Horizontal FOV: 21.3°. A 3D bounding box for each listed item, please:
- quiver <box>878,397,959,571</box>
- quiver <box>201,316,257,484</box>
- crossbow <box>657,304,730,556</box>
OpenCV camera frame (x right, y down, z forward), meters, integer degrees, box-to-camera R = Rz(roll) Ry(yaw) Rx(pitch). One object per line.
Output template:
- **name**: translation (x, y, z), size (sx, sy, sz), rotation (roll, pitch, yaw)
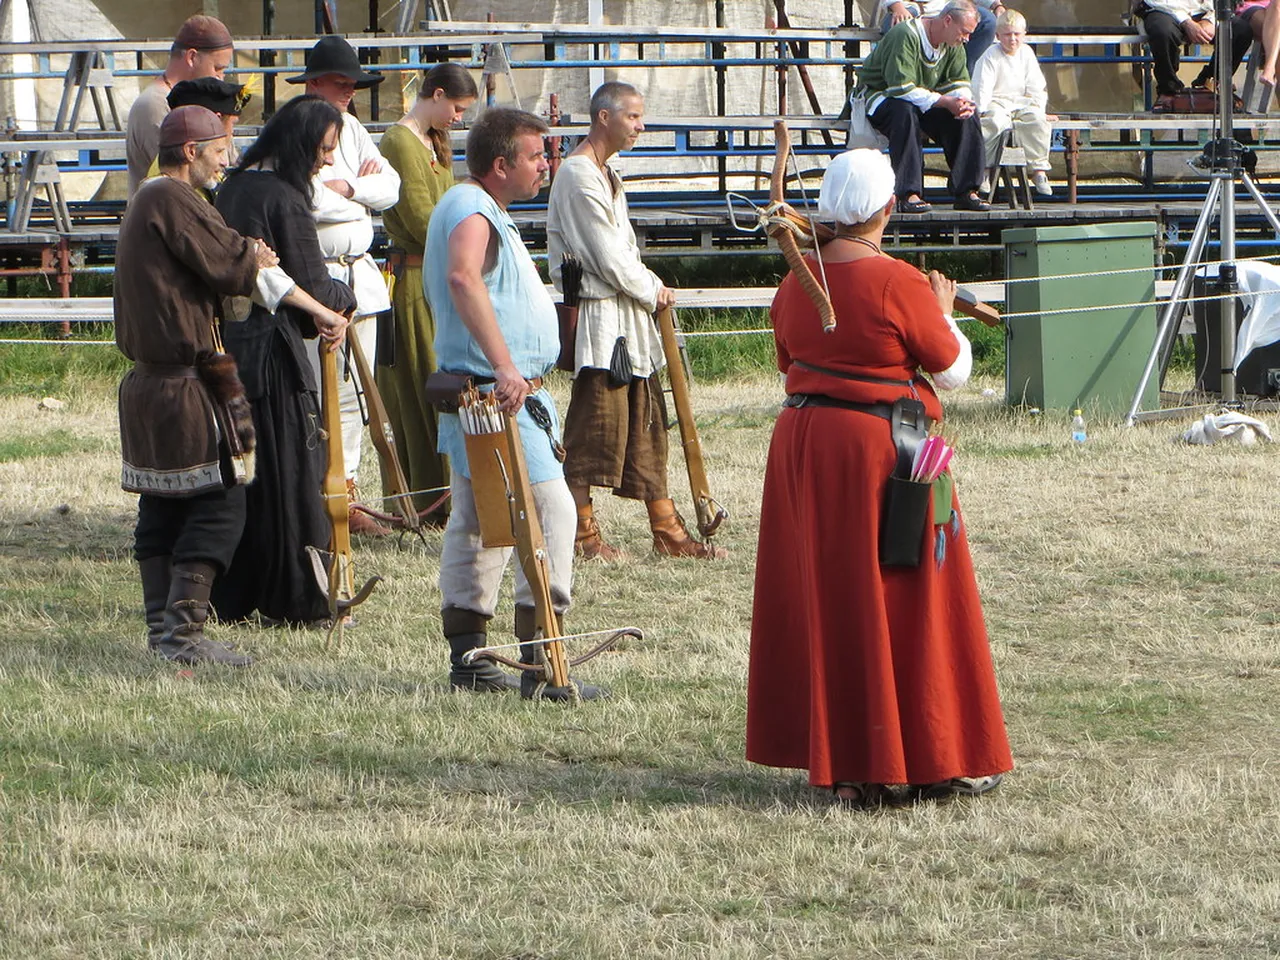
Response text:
- **quiver**: translation (1.394, 0.011, 17.071), size (0.404, 0.832, 0.191), rotation (-1, 7, -8)
- **quiver**: translation (-2.163, -0.366, 18.344), size (0.185, 1.059, 0.330), rotation (-8, 11, 4)
- **crossbow**: translation (0.300, -0.317, 20.153), size (0.271, 1.838, 0.254), rotation (-8, 11, 6)
